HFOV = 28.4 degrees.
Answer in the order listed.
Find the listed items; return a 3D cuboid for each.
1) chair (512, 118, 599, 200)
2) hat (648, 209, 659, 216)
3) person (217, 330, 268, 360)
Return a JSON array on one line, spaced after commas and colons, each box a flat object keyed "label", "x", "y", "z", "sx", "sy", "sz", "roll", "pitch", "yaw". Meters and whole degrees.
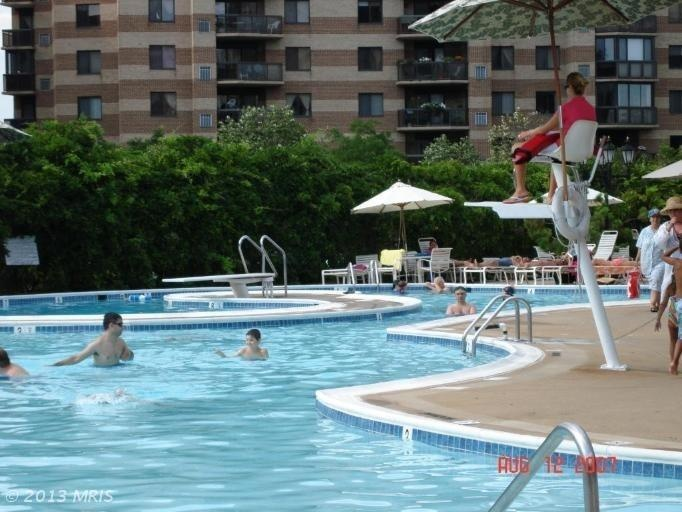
[{"label": "chair", "x": 4.142, "y": -1.857, "z": 25.776, "sx": 1.772, "sy": 2.258, "sz": 1.241, "roll": 2, "pitch": 2, "yaw": 4}, {"label": "hat", "x": 7.182, "y": -1.023, "z": 31.132, "sx": 0.229, "sy": 0.113, "sz": 0.329, "roll": 0, "pitch": 0, "yaw": 12}, {"label": "person", "x": -2.107, "y": 1.880, "z": 29.047, "sx": 1.120, "sy": 0.636, "sz": 1.038, "roll": -4, "pitch": 3, "yaw": -17}]
